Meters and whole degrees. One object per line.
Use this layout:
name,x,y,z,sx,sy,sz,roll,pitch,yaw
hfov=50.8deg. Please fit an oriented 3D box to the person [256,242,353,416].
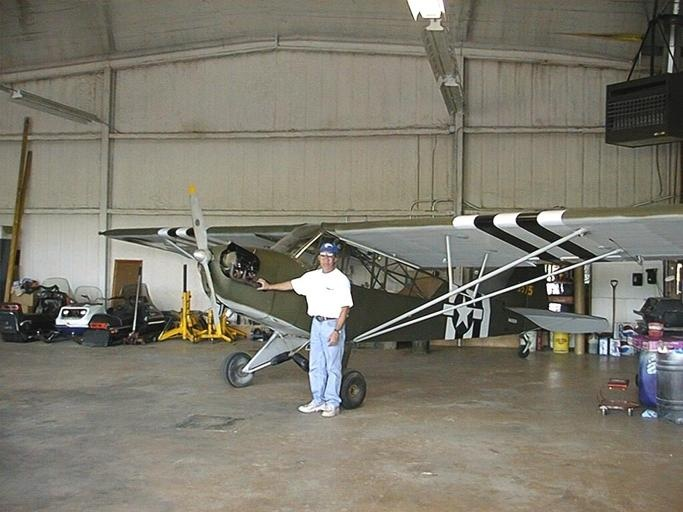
person,-0.226,0.818,8.074,0.552,1.925,0.338,6,8,36

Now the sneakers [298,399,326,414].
sneakers,-0.346,1.713,8.202,0.347,0.125,0.123,4,-6,-18

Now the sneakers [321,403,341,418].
sneakers,-0.123,1.743,8.084,0.099,0.101,0.255,-3,-13,26

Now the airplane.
airplane,1.149,0.524,9.107,5.243,2.435,3.343,1,6,2

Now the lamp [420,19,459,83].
lamp,1.609,-3.406,11.720,0.462,0.318,1.560,0,-7,17

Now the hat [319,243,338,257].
hat,-0.159,-0.065,8.076,0.165,0.165,0.128,6,42,27
